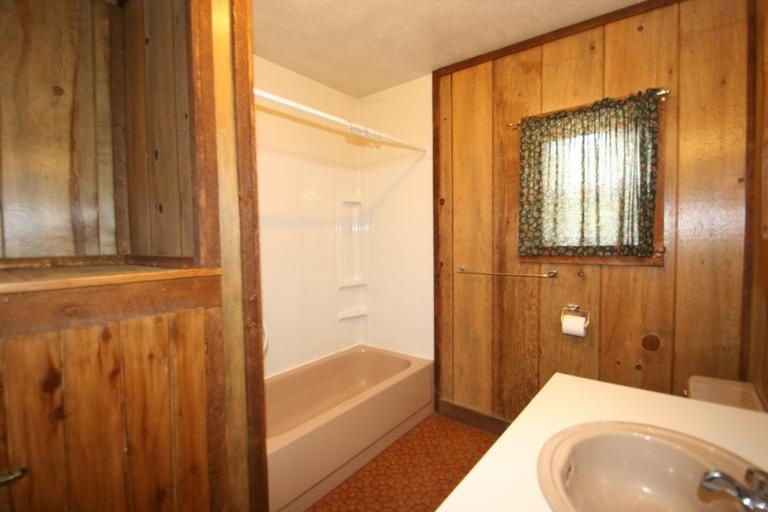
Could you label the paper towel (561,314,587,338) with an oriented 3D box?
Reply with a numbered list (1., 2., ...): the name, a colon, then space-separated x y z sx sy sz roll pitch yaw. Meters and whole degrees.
1. paper towel: 1.101 0.382 3.243 0.149 0.127 0.120 0 34 41
